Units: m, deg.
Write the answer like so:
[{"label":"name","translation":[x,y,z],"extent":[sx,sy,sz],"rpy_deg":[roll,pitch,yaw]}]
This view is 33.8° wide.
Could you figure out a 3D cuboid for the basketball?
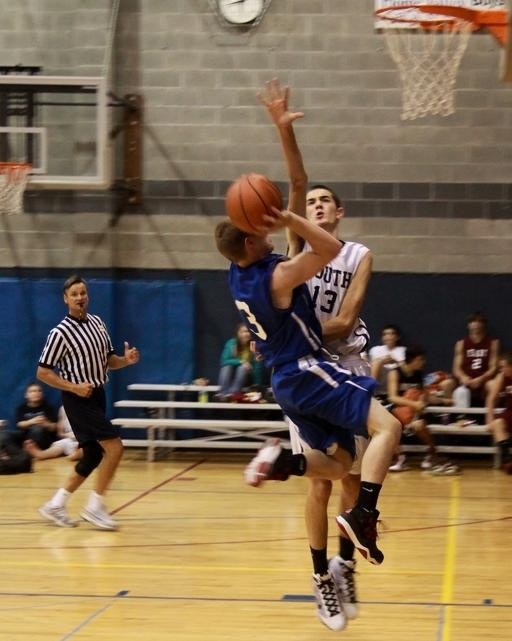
[{"label":"basketball","translation":[-0.008,-0.498,3.569],"extent":[0.253,0.270,0.198],"rpy_deg":[0,0,14]}]

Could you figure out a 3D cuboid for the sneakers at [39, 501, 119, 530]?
[{"label":"sneakers","translation":[-1.274,1.404,6.100],"extent":[0.662,0.181,0.241],"rpy_deg":[0,0,19]}]

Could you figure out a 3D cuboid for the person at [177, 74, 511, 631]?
[{"label":"person","translation":[0.211,0.145,3.819],"extent":[0.771,2.573,0.793],"rpy_deg":[0,0,-3]}]

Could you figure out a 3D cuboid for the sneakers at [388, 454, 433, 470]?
[{"label":"sneakers","translation":[1.500,1.423,8.456],"extent":[0.584,0.184,0.163],"rpy_deg":[1,-3,-8]}]

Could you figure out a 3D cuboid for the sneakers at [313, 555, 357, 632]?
[{"label":"sneakers","translation":[0.365,1.279,3.982],"extent":[0.172,0.352,0.160],"rpy_deg":[-11,-25,-1]}]

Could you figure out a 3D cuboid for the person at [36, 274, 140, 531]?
[{"label":"person","translation":[-1.235,0.587,6.171],"extent":[0.701,1.823,0.559],"rpy_deg":[0,0,-11]}]

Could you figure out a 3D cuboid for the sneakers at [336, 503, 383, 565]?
[{"label":"sneakers","translation":[0.445,0.901,3.527],"extent":[0.252,0.257,0.125],"rpy_deg":[0,0,-44]}]

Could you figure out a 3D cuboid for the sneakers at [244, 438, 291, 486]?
[{"label":"sneakers","translation":[0.044,0.599,3.536],"extent":[0.123,0.248,0.111],"rpy_deg":[21,-32,31]}]
